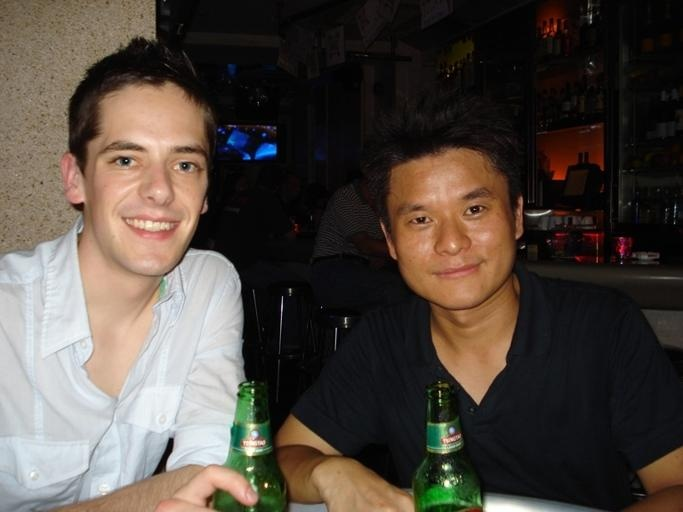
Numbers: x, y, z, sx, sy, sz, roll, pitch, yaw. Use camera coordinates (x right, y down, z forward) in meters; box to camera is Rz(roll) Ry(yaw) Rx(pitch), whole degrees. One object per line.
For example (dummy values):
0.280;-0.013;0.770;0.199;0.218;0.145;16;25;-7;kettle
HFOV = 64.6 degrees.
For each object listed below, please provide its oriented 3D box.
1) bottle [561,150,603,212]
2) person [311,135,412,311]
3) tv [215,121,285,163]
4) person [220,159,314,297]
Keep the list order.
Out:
2.316;-0.732;5.194;0.269;0.478;0.298;3;5;-36;bottle
0.152;-0.167;3.995;0.715;1.141;0.537;9;-2;10;person
-1.786;-2.267;10.693;1.340;0.783;0.086;2;5;-17;tv
-0.673;-0.314;5.600;0.993;1.434;1.129;9;23;14;person
